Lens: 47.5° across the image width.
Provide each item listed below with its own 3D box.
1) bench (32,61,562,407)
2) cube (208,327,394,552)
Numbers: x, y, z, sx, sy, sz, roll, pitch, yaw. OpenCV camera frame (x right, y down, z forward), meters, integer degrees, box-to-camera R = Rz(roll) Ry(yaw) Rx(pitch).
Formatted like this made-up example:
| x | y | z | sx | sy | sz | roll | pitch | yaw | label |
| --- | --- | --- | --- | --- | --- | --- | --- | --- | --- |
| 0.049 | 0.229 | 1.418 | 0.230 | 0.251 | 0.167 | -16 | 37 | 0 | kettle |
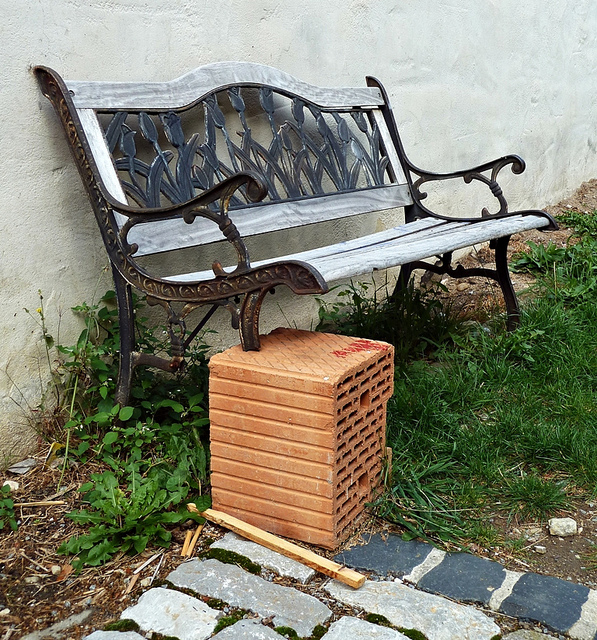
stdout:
| x | y | z | sx | sy | sz | roll | pitch | yaw | label |
| --- | --- | --- | --- | --- | --- | --- | --- | --- | --- |
| 0.065 | -0.567 | 3.046 | 1.257 | 1.321 | 2.461 | 7 | 27 | 32 | bench |
| 0.027 | 0.406 | 2.199 | 0.467 | 0.430 | 0.538 | -7 | 7 | -44 | cube |
